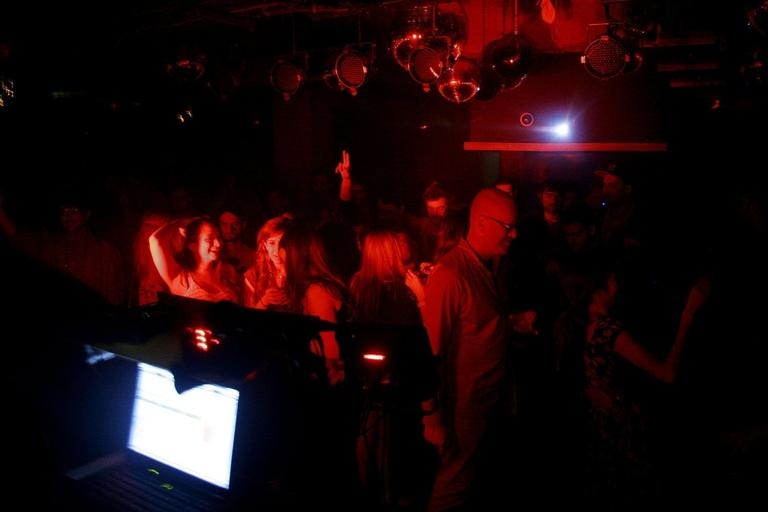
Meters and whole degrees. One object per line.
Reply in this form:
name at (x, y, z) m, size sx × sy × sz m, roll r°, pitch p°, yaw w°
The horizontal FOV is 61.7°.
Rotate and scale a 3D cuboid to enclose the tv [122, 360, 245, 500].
tv at (-0.966, 0.870, 3.151) m, size 0.599 × 0.411 × 0.023 m, roll 14°, pitch -8°, yaw 23°
